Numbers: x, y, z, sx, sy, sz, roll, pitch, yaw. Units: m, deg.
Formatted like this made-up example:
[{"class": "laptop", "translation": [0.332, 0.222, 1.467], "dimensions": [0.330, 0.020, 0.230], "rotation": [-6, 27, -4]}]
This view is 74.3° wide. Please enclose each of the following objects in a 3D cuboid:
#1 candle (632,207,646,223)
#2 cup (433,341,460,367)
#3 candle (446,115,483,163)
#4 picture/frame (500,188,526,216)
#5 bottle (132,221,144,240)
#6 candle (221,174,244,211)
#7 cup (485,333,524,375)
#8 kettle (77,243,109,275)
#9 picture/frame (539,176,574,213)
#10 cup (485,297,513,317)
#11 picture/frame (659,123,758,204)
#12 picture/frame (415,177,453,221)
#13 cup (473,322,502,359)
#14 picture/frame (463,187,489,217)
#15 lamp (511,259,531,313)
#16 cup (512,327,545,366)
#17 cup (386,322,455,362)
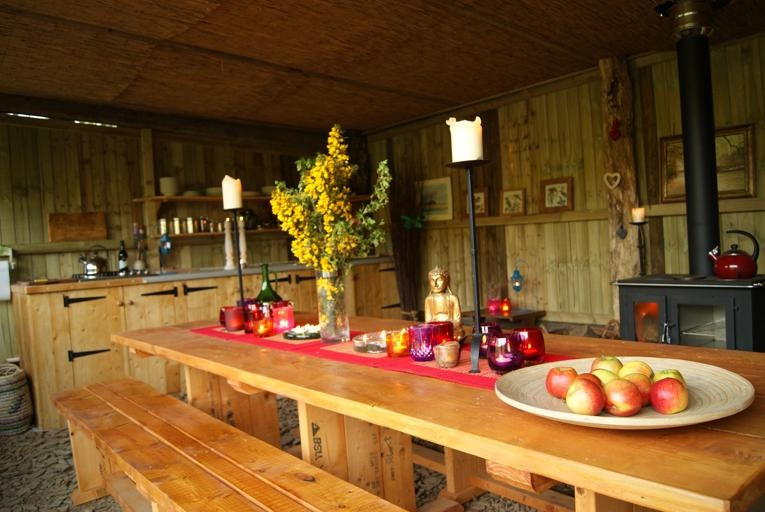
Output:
[{"class": "candle", "translation": [2.166, -0.351, 4.283], "dimensions": [0.086, 0.137, 0.344], "rotation": [0, 13, 31]}, {"class": "cup", "translation": [0.251, 0.381, 1.994], "dimensions": [0.101, 0.091, 0.097], "rotation": [2, 2, 0]}, {"class": "candle", "translation": [0.334, -0.467, 2.015], "dimensions": [0.125, 0.183, 0.194], "rotation": [-5, 12, 10]}, {"class": "picture/frame", "translation": [1.492, -0.616, 5.726], "dimensions": [0.047, 0.314, 0.338], "rotation": [8, -9, -42]}, {"class": "bottle", "translation": [-2.902, -0.298, 5.991], "dimensions": [0.114, 0.113, 0.201], "rotation": [17, -11, -17]}, {"class": "candle", "translation": [-0.894, -0.377, 3.008], "dimensions": [0.118, 0.200, 0.353], "rotation": [-11, 12, -16]}, {"class": "cup", "translation": [0.455, 0.359, 1.871], "dimensions": [0.144, 0.132, 0.143], "rotation": [-3, 2, 0]}, {"class": "kettle", "translation": [-3.148, 0.060, 5.530], "dimensions": [0.294, 0.366, 0.219], "rotation": [3, -1, 2]}, {"class": "picture/frame", "translation": [1.868, -0.652, 5.414], "dimensions": [0.040, 0.348, 0.372], "rotation": [-6, 5, -37]}, {"class": "cup", "translation": [1.253, 0.544, 5.444], "dimensions": [0.210, 0.135, 0.203], "rotation": [-2, 4, 0]}, {"class": "picture/frame", "translation": [2.752, -0.772, 4.203], "dimensions": [0.867, 0.730, 0.069], "rotation": [-3, -4, 41]}, {"class": "picture/frame", "translation": [0.668, -0.716, 6.440], "dimensions": [0.567, 0.536, 0.043], "rotation": [-8, 10, -31]}, {"class": "cup", "translation": [0.419, 0.310, 1.955], "dimensions": [0.105, 0.120, 0.126], "rotation": [2, 10, 18]}, {"class": "picture/frame", "translation": [1.172, -0.640, 5.982], "dimensions": [0.160, 0.311, 0.120], "rotation": [-4, 13, 15]}, {"class": "lamp", "translation": [1.566, 0.300, 5.776], "dimensions": [0.207, 0.572, 0.161], "rotation": [-2, 14, 25]}, {"class": "cup", "translation": [0.551, 0.335, 1.903], "dimensions": [0.134, 0.120, 0.129], "rotation": [-1, -1, 0]}, {"class": "cup", "translation": [0.150, 0.340, 2.064], "dimensions": [0.152, 0.092, 0.246], "rotation": [-5, -7, 44]}]
